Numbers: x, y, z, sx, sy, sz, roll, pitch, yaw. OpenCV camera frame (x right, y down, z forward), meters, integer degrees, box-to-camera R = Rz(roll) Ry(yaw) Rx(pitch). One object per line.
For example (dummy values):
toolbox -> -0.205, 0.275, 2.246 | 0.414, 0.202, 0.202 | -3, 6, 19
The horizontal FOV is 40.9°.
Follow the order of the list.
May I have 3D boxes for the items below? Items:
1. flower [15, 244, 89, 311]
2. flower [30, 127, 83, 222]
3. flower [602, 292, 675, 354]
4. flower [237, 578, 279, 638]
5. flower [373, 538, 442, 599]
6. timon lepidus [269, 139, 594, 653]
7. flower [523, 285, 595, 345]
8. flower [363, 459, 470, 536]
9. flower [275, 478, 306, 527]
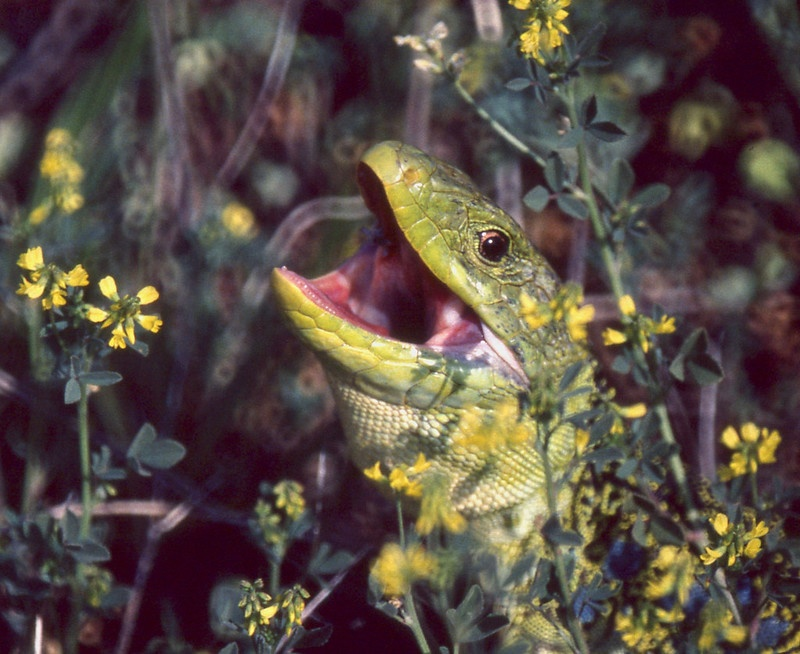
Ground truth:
flower -> -0.521, -0.062, 1.594 | 0.091, 0.117, 0.155 | 2, -22, -23
flower -> -0.601, -0.255, 1.887 | 0.094, 0.175, 0.056 | 4, -20, -26
flower -> 0.328, 0.000, 1.475 | 0.097, 0.077, 0.080 | -11, -20, 11
flower -> -0.211, 0.423, 1.598 | 0.057, 0.063, 0.077 | -18, -32, -23
flower -> 0.011, 0.359, 1.624 | 0.094, 0.098, 0.065 | -12, -56, -21
timon lepidus -> 0.126, 0.095, 1.843 | 0.538, 0.316, 0.754 | 2, -39, 42
flower -> 0.215, -0.015, 1.467 | 0.091, 0.088, 0.120 | -9, -20, 7
flower -> 0.027, 0.251, 1.657 | 0.131, 0.135, 0.076 | 23, -66, -2
flower -> -0.177, 0.287, 1.715 | 0.066, 0.074, 0.020 | -7, 12, -36
